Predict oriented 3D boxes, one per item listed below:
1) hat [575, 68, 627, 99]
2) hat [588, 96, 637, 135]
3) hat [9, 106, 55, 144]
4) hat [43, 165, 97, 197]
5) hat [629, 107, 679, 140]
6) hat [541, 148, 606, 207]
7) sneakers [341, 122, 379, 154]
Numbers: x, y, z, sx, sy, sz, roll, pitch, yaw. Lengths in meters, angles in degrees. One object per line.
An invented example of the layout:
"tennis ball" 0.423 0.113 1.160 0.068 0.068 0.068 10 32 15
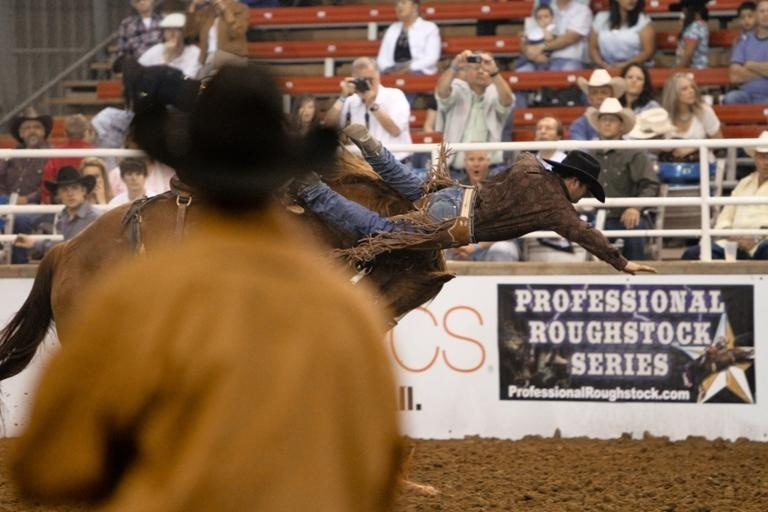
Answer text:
"hat" 2.613 -2.040 20.552 0.508 0.198 0.528 2 -12 9
"hat" 2.663 -1.544 19.695 0.430 0.174 0.468 4 -27 6
"hat" -4.345 -1.689 21.527 0.612 0.269 0.700 -10 26 2
"hat" -3.434 -0.834 19.153 0.393 0.154 0.417 -8 -9 -5
"hat" 3.084 -1.507 19.804 0.440 0.151 0.397 -36 50 -25
"hat" 1.993 -0.810 17.256 0.613 0.228 0.482 33 -8 -24
"sneakers" -0.213 -1.110 16.760 0.207 0.383 0.146 -51 11 -20
